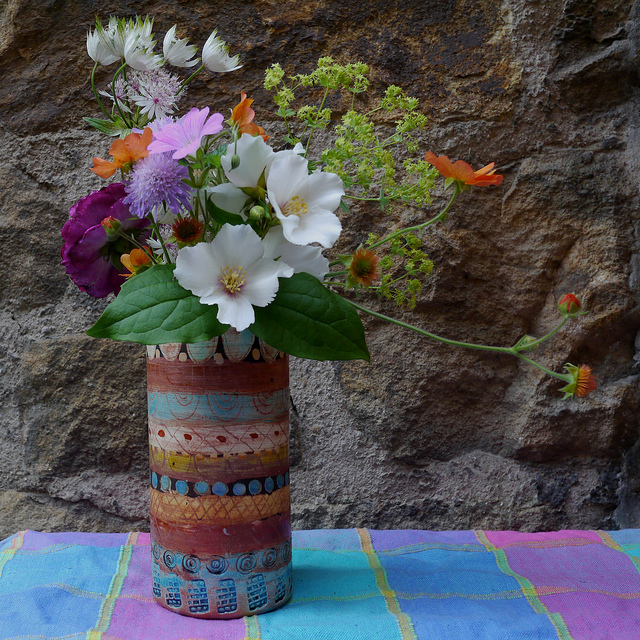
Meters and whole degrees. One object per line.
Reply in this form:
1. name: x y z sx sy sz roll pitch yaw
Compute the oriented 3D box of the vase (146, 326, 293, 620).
1. vase: -0.106 0.159 0.989 0.196 0.291 0.174 2 13 -10
